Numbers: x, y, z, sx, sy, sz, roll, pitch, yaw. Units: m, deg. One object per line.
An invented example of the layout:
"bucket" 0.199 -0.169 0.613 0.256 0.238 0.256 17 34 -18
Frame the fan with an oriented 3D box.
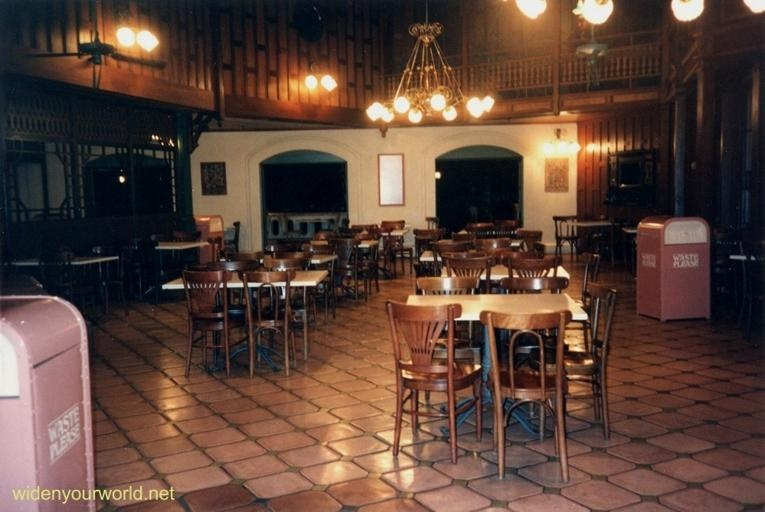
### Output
"fan" -4.460 -3.373 10.446 1.431 0.509 1.399 4 13 8
